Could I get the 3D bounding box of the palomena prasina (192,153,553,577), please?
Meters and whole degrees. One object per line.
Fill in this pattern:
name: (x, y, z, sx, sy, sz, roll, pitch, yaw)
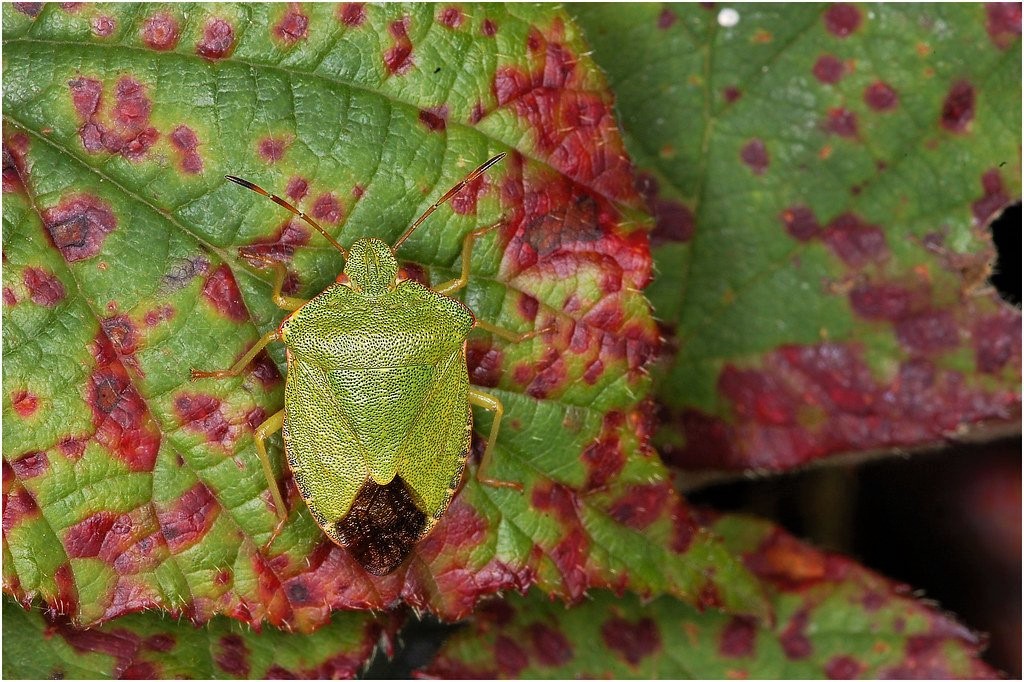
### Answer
palomena prasina: (-0.523, 0.091, 3.377, 1.205, 1.523, 0.356, 1, 3, -10)
